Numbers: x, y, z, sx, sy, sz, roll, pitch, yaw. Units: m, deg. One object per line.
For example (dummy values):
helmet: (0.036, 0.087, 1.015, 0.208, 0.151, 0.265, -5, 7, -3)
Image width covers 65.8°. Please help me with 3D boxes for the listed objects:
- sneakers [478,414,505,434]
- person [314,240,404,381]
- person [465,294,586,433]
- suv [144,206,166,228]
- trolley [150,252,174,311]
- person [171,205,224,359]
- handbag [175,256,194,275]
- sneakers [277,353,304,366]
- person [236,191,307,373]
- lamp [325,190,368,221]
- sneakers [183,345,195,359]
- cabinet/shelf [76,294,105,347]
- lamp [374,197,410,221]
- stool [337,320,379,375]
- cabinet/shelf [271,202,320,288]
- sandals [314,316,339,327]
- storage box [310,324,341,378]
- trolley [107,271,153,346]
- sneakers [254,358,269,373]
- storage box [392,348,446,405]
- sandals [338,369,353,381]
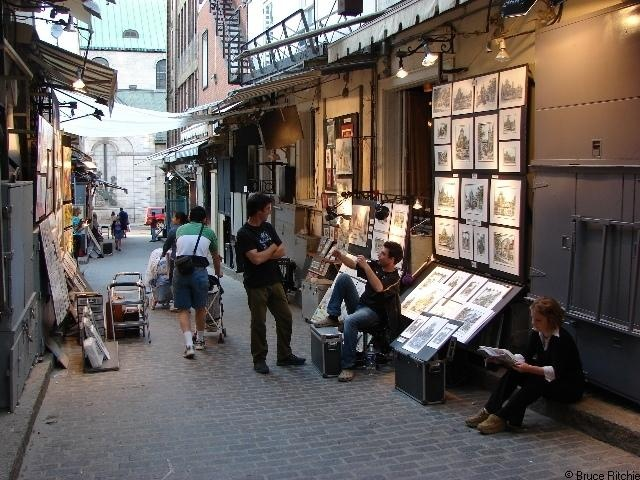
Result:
sneakers: (1.748, 1.866, 5.070, 0.272, 0.122, 0.135, 0, -1, -20)
person: (0.526, 0.960, 7.278, 1.188, 2.077, 1.073, 13, -8, 5)
person: (2.135, 1.293, 5.146, 1.196, 1.271, 0.674, -2, 0, -9)
suv: (-13.554, -1.911, 40.595, 2.267, 2.048, 1.475, -1, 10, -8)
trolley: (-3.917, 0.975, 12.285, 0.716, 1.225, 0.686, -9, 19, -40)
person: (-2.113, 0.646, 8.510, 0.759, 2.463, 1.217, -1, 2, -15)
handbag: (-2.193, 0.417, 8.221, 0.366, 0.366, 0.255, -2, -8, 4)
sneakers: (-0.441, 1.835, 7.626, 0.441, 0.213, 0.164, -1, 3, -8)
person: (-0.793, 0.613, 7.393, 0.890, 2.612, 0.595, -1, 2, -10)
lamp: (0.532, -0.768, 10.859, 0.946, 0.657, 0.302, -11, 22, -34)
sneakers: (-2.134, 1.789, 8.043, 0.181, 0.224, 0.280, -1, 2, -17)
cabinet/shelf: (-4.184, 1.372, 9.014, 0.488, 0.753, 1.558, -2, 2, -27)
lamp: (1.336, -0.629, 9.124, 0.644, 0.525, 1.102, 0, 2, 12)
stool: (0.498, 1.443, 7.058, 0.666, 0.808, 0.591, -3, 4, -26)
cabinet/shelf: (-0.516, 0.141, 11.760, 0.686, 1.904, 1.987, 0, 7, -18)
sandals: (0.047, 1.265, 7.669, 0.457, 0.199, 0.155, 4, -2, -16)
storage box: (0.100, 1.603, 7.195, 0.322, 0.626, 0.566, -1, 2, -15)
trolley: (-3.742, 1.313, 9.597, 0.897, 1.377, 1.422, 0, -2, -27)
sneakers: (-0.854, 1.848, 7.263, 0.184, 0.158, 0.302, -2, 2, -23)
storage box: (1.230, 1.630, 6.178, 0.293, 0.620, 0.724, 0, 0, -22)
sandals: (0.356, 1.857, 6.828, 0.218, 0.142, 0.146, -1, 2, -2)
